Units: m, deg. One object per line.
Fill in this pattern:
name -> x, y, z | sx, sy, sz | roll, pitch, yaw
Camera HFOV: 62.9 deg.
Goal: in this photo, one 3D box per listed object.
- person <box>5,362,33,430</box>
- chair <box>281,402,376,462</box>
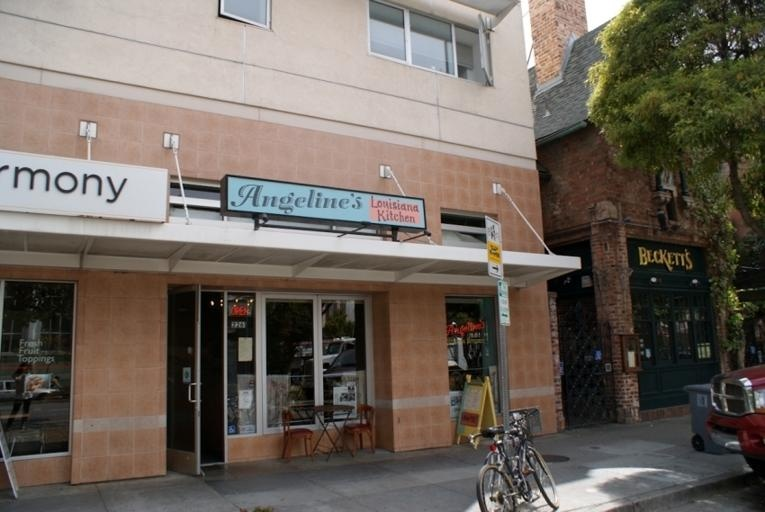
person -> -6.868, 2.643, 11.849 | 0.420, 1.237, 0.128 | 1, -1, -32
chair -> -1.212, 3.935, 14.249 | 2.191, 1.219, 0.881 | 1, -1, -19
